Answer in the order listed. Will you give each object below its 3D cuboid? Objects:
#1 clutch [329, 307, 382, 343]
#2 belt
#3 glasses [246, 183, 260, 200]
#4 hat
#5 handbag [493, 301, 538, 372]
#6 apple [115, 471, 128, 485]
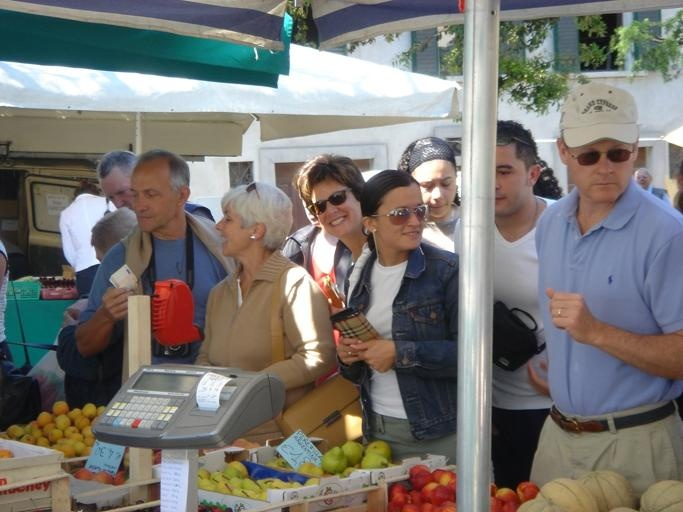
[{"bbox_3d":[0.066,0.340,3.837,0.242,0.211,0.157,-1,1,42],"label":"clutch"},{"bbox_3d":[1.233,0.721,3.441,0.314,0.138,0.411,-4,8,-33],"label":"belt"},{"bbox_3d":[-0.544,-0.399,4.726,0.036,0.086,0.084,-3,-8,-30],"label":"glasses"},{"bbox_3d":[1.151,-0.640,3.459,0.335,0.298,0.252,-2,7,17],"label":"hat"},{"bbox_3d":[0.914,0.437,4.265,0.274,0.393,0.265,-5,12,-36],"label":"handbag"},{"bbox_3d":[-1.058,1.071,3.694,0.045,0.049,0.046,-4,7,41],"label":"apple"}]
